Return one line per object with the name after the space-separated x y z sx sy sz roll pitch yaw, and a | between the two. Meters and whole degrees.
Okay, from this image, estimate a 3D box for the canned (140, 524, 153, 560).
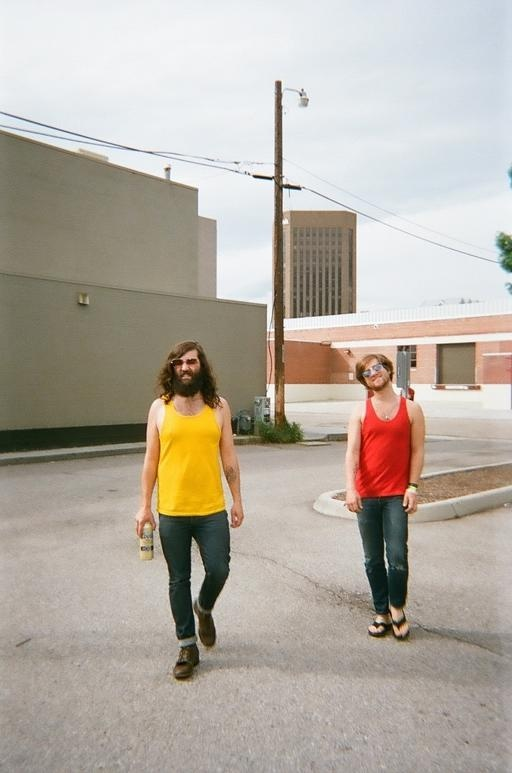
-0.552 0.788 3.515 0.056 0.197 0.137 0 0 -2 | canned

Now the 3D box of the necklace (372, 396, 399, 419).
0.754 0.142 4.088 0.082 0.143 0.078 -1 -30 1 | necklace

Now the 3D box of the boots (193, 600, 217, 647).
-0.289 1.310 3.786 0.084 0.310 0.114 -9 6 6 | boots

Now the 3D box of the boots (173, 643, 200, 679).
-0.350 1.350 3.470 0.109 0.137 0.256 0 0 3 | boots

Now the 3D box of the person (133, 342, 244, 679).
-0.333 0.590 3.573 0.536 1.656 0.414 0 -1 -7 | person

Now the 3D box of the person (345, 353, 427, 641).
0.749 0.620 4.067 0.444 1.634 0.302 0 -1 15 | person

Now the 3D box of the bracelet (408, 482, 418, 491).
0.912 0.578 4.020 0.032 0.039 0.046 0 -16 6 | bracelet
